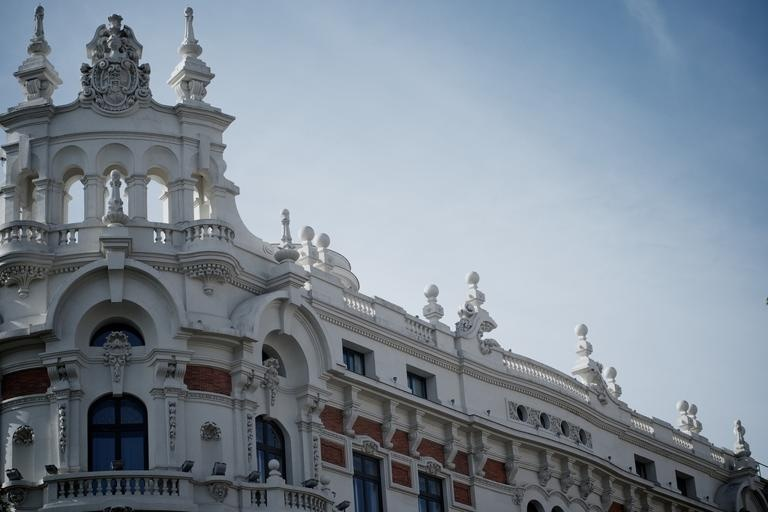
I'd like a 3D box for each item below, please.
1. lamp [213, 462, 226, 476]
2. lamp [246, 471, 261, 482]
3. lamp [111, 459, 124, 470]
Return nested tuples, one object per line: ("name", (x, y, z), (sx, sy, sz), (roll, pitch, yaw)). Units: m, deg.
("lamp", (-5.544, 7.200, 56.778), (0.409, 0.492, 0.429), (6, -39, -12))
("lamp", (-4.473, 7.456, 57.175), (0.388, 0.350, 0.101), (5, 10, -46))
("lamp", (-8.837, 6.907, 55.745), (0.357, 0.334, 0.324), (-2, -3, -5))
